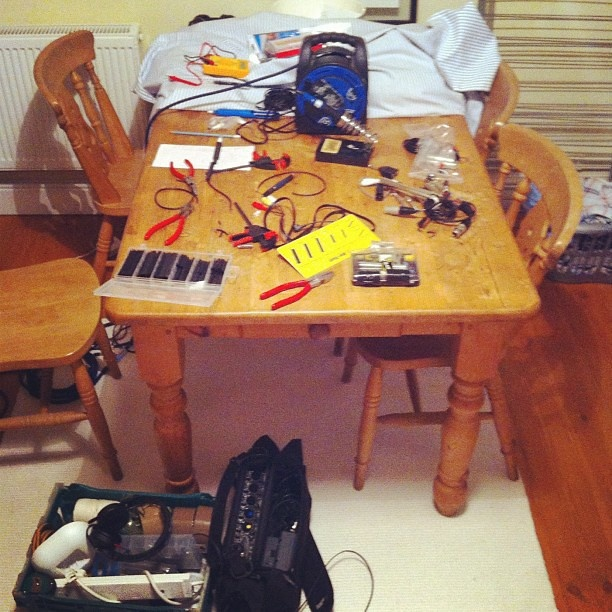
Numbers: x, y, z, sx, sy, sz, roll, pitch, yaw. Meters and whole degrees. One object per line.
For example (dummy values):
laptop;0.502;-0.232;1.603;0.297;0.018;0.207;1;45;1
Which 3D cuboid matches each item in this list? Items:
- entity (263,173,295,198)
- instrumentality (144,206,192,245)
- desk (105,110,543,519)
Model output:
entity;-0.074;-0.353;1.705;0.034;0.014;0.151;40;47;14
instrumentality;-0.360;-0.208;1.548;0.047;0.095;0.092;51;58;-9
desk;0.021;-0.114;1.929;1.224;0.714;1.180;34;61;23
